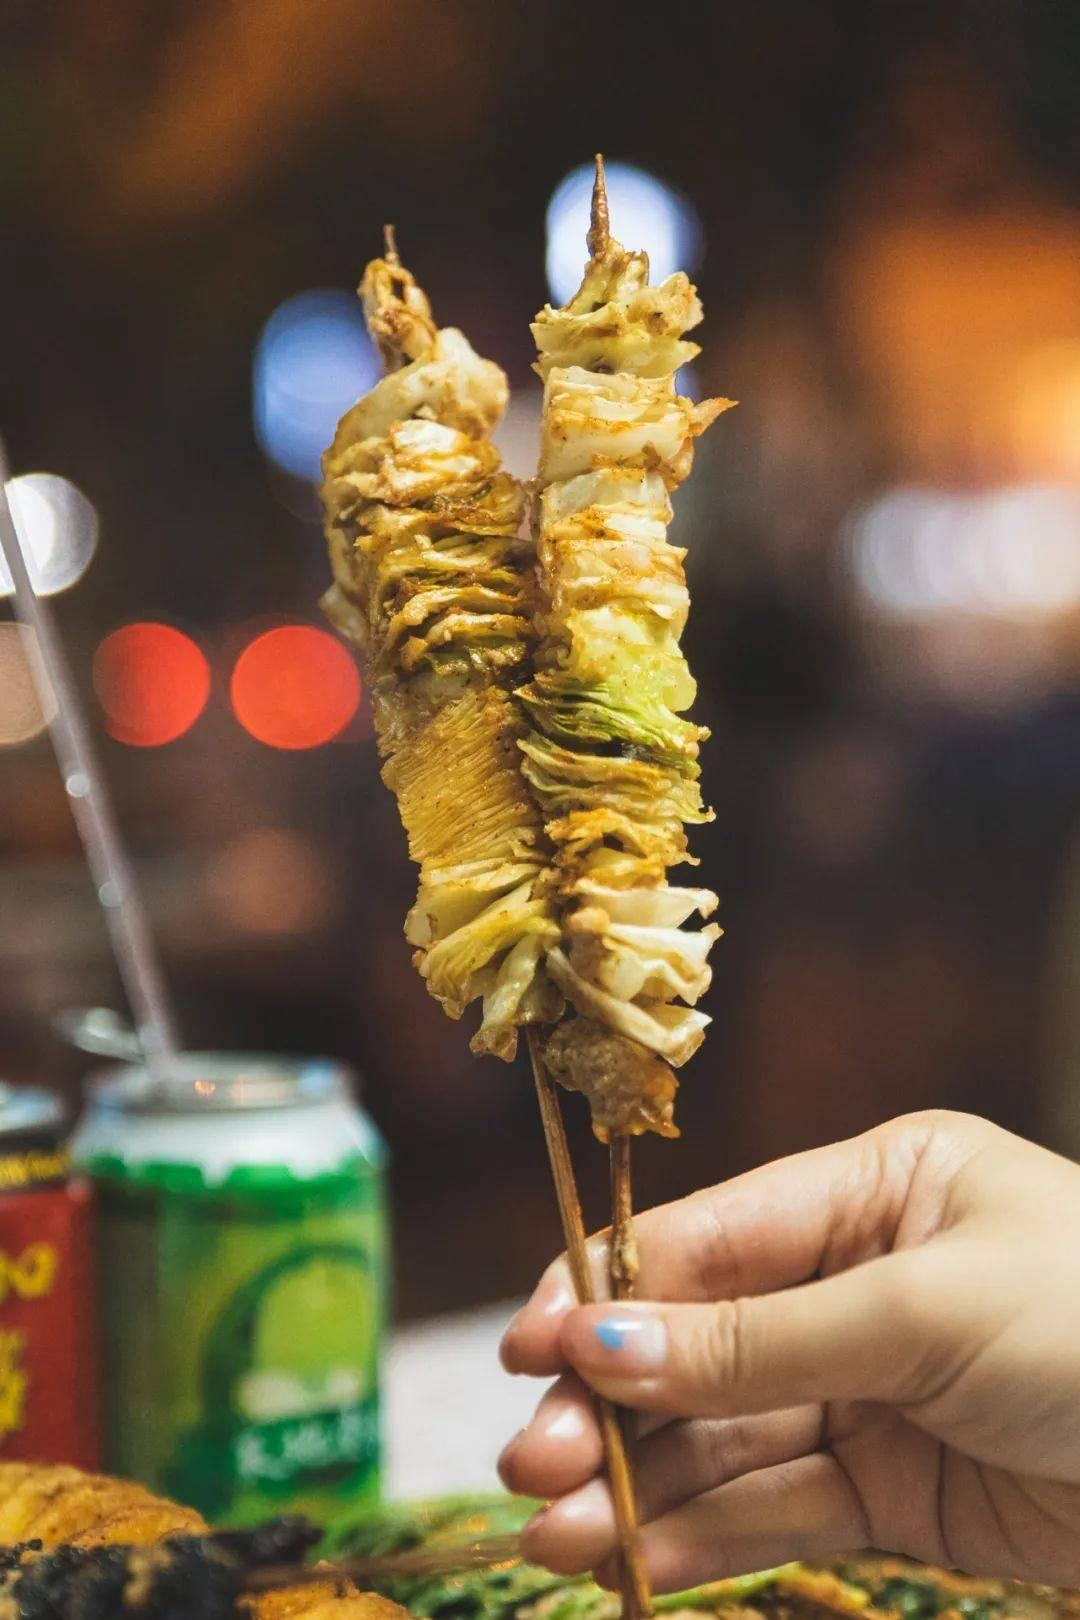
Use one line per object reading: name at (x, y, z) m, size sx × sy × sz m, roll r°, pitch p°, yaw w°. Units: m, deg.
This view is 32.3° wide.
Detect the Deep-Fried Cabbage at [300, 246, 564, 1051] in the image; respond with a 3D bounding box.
Deep-Fried Cabbage at (-0.041, -0.077, 0.936) m, size 0.111 × 0.386 × 0.140 m, roll -12°, pitch 0°, yaw -6°

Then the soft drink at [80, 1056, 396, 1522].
soft drink at (-0.176, 0.267, 1.029) m, size 0.167 × 0.236 × 0.180 m, roll -1°, pitch 41°, yaw 2°
